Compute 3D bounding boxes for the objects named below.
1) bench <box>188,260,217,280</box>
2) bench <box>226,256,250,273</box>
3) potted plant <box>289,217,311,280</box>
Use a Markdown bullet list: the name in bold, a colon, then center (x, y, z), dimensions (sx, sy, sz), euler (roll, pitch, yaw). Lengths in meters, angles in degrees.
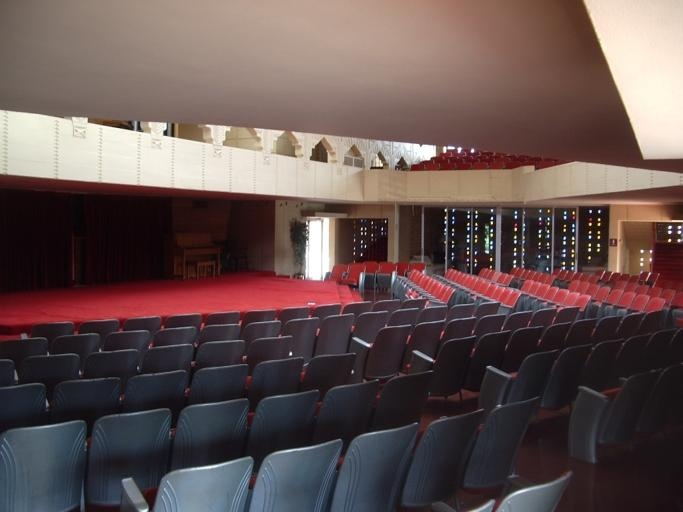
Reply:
- **bench**: center (-4.195, 0.405, 15.657), dimensions (0.302, 0.491, 1.095), euler (6, 0, 43)
- **bench**: center (-3.638, 0.291, 18.158), dimensions (0.508, 0.459, 0.544), euler (0, 1, 30)
- **potted plant**: center (-1.523, -0.273, 18.819), dimensions (0.499, 2.011, 1.018), euler (5, 1, 20)
